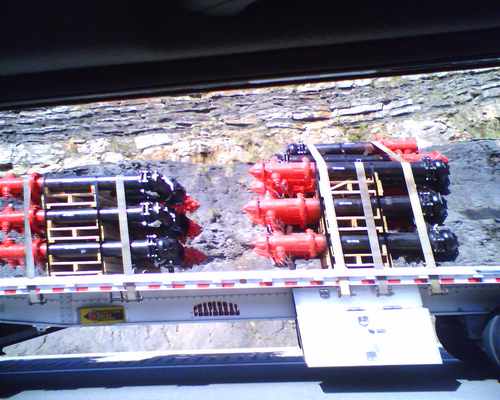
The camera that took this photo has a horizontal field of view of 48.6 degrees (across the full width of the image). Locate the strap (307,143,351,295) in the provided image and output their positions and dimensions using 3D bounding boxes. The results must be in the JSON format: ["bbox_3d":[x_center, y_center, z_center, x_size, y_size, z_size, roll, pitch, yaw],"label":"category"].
[{"bbox_3d":[1.331,0.285,8.576,0.386,1.955,0.463,-20,-11,42],"label":"strap"}]

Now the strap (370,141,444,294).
[{"bbox_3d":[2.435,-0.084,8.795,0.429,2.387,0.354,15,-40,7],"label":"strap"}]

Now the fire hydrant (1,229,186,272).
[{"bbox_3d":[-2.696,0.827,9.178,2.529,0.382,1.049,-1,-6,0],"label":"fire hydrant"}]

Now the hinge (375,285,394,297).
[{"bbox_3d":[1.918,1.307,7.942,0.273,0.184,0.096,-7,-7,5],"label":"hinge"}]

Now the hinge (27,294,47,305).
[{"bbox_3d":[-3.233,1.500,8.356,0.264,0.063,0.261,0,-19,-11],"label":"hinge"}]

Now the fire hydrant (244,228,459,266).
[{"bbox_3d":[1.641,0.684,9.051,3.046,0.591,0.895,-5,-5,19],"label":"fire hydrant"}]

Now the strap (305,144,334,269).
[{"bbox_3d":[1.142,-0.241,9.082,0.136,2.735,0.212,-5,-9,-27],"label":"strap"}]
